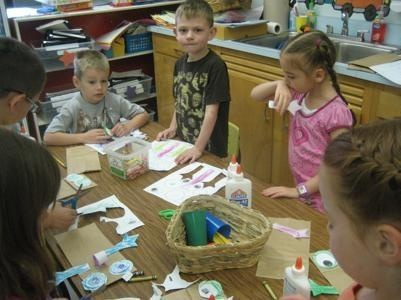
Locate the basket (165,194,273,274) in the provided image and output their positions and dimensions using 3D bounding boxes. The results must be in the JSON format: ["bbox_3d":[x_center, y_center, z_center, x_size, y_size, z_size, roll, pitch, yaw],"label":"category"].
[{"bbox_3d":[0.058,0.288,1.131,0.349,0.165,0.246,-9,23,-7],"label":"basket"}]

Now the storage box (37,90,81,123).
[{"bbox_3d":[-1.398,-0.378,3.320,0.420,0.207,0.602,-25,9,-6],"label":"storage box"}]

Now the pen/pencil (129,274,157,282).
[{"bbox_3d":[-0.187,0.418,1.039,0.074,0.016,0.014,-4,1,-3],"label":"pen/pencil"}]

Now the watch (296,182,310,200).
[{"bbox_3d":[0.467,0.209,1.493,0.052,0.086,0.085,-12,30,4],"label":"watch"}]

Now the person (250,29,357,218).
[{"bbox_3d":[0.754,-0.233,2.851,0.444,1.160,1.152,-30,43,-32],"label":"person"}]

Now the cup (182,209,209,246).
[{"bbox_3d":[-0.026,0.290,1.168,0.101,0.105,0.118,-2,59,-4],"label":"cup"}]

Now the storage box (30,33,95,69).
[{"bbox_3d":[-1.274,-0.877,2.942,0.566,0.264,0.406,-14,21,-24],"label":"storage box"}]

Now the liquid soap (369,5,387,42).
[{"bbox_3d":[1.451,-1.019,2.616,0.102,0.295,0.069,7,25,28],"label":"liquid soap"}]

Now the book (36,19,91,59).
[{"bbox_3d":[-1.274,-1.043,2.967,0.326,0.155,0.441,-13,14,-12],"label":"book"}]

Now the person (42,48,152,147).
[{"bbox_3d":[-0.830,-0.411,2.462,0.773,0.640,0.510,-27,41,-34],"label":"person"}]

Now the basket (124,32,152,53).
[{"bbox_3d":[-0.668,-1.170,3.506,0.367,0.248,0.211,-19,30,-40],"label":"basket"}]

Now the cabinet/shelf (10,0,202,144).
[{"bbox_3d":[-0.773,-0.665,2.545,1.249,1.146,0.358,-22,31,-29],"label":"cabinet/shelf"}]

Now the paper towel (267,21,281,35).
[{"bbox_3d":[0.704,-1.177,3.099,0.107,0.113,0.170,-18,37,-32],"label":"paper towel"}]
